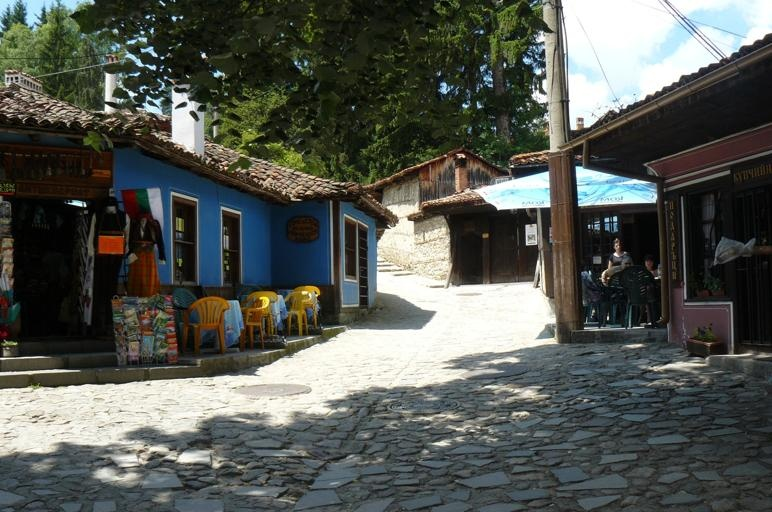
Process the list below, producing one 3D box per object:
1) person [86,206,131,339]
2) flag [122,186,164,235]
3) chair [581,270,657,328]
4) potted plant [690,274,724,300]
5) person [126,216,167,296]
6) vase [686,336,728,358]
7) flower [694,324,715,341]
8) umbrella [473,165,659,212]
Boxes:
[{"bbox_3d":[-5.175,0.239,11.968,0.719,2.537,0.847,-4,6,-32],"label":"person"},{"bbox_3d":[-4.607,-0.836,12.020,0.948,0.908,0.096,-5,1,-12],"label":"flag"},{"bbox_3d":[4.992,0.839,13.542,1.237,1.036,1.536,1,3,22],"label":"chair"},{"bbox_3d":[5.442,0.521,10.822,0.405,0.383,0.445,-1,-1,-10],"label":"potted plant"},{"bbox_3d":[-4.514,-0.070,12.013,0.703,1.570,0.380,-4,6,-35],"label":"person"},{"bbox_3d":[5.284,1.483,10.448,0.289,0.216,0.462,-1,2,-22],"label":"vase"},{"bbox_3d":[5.317,1.275,10.663,0.130,0.244,0.269,9,-4,-22],"label":"flower"},{"bbox_3d":[4.212,-1.570,14.803,3.726,0.857,2.420,1,5,19],"label":"umbrella"}]
